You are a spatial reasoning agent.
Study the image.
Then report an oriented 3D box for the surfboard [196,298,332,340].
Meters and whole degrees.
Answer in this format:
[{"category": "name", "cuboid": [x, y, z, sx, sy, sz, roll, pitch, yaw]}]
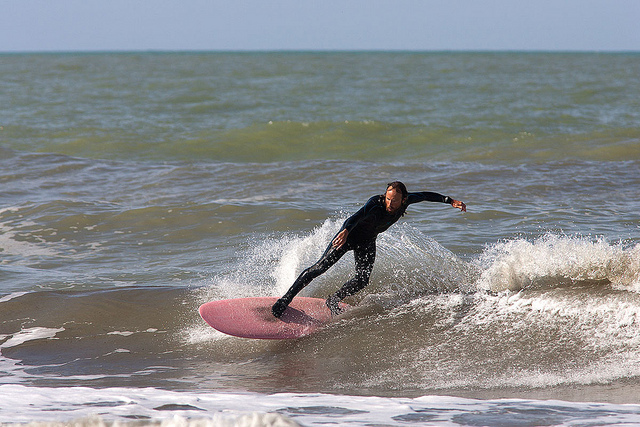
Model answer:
[{"category": "surfboard", "cuboid": [-1.074, 2.096, 20.390, 3.957, 0.882, 0.509, -9, 4, 29]}]
